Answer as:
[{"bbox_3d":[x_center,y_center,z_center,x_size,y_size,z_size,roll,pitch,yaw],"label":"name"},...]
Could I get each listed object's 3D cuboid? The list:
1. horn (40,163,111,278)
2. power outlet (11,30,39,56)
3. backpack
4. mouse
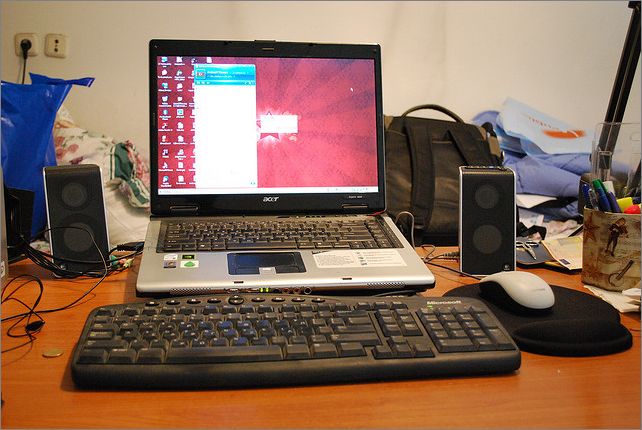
[{"bbox_3d":[-0.574,0.010,1.251,0.163,0.250,0.160,-3,5,11],"label":"horn"},{"bbox_3d":[-1.330,-0.767,2.289,0.105,0.095,0.027,2,8,-15],"label":"power outlet"},{"bbox_3d":[0.498,-0.131,1.761,0.581,0.595,0.332,5,-25,-16],"label":"backpack"},{"bbox_3d":[0.414,0.149,1.087,0.111,0.062,0.178,-2,10,-14],"label":"mouse"}]
